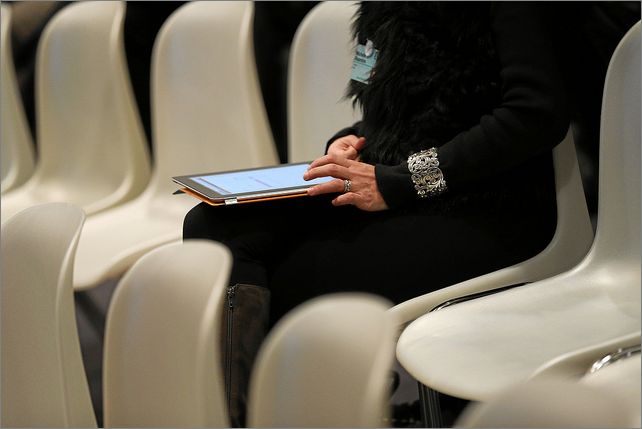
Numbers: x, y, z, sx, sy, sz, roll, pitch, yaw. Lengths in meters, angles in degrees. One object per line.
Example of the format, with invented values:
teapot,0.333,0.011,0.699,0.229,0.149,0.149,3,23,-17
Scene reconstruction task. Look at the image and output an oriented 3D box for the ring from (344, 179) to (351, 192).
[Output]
ring,0.050,-0.052,1.237,0.014,0.025,0.022,-2,6,-3
